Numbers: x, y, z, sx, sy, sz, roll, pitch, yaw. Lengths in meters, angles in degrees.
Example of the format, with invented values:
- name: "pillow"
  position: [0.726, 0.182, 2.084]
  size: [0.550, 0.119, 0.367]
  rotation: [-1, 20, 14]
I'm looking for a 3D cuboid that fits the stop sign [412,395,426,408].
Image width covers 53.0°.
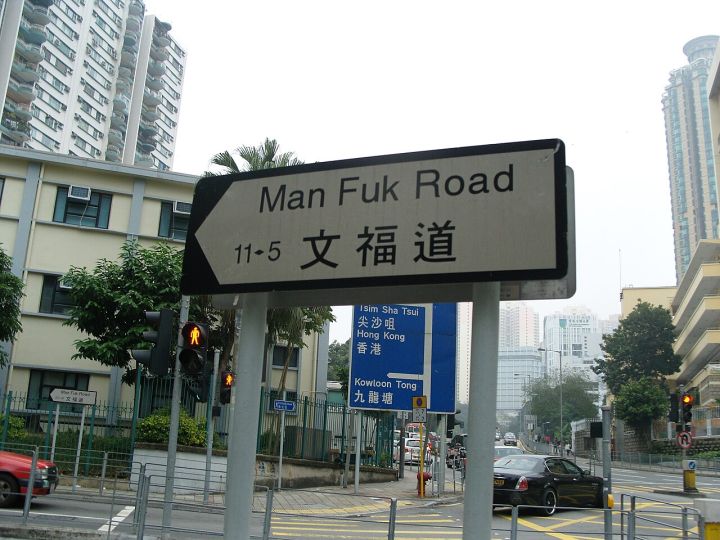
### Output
- name: "stop sign"
  position: [2.016, 4.533, 24.638]
  size: [0.432, 0.381, 0.228]
  rotation: [0, -13, 5]

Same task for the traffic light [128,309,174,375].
- name: "traffic light"
  position: [-4.464, 1.533, 15.636]
  size: [0.746, 1.441, 0.639]
  rotation: [4, -13, -13]

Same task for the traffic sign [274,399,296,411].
- name: "traffic sign"
  position: [-2.628, 4.667, 24.726]
  size: [0.578, 0.416, 1.048]
  rotation: [-9, -17, 36]

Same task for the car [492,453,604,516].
- name: "car"
  position: [5.568, 6.358, 21.628]
  size: [3.700, 1.525, 0.987]
  rotation: [9, -15, -30]

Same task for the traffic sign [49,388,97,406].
- name: "traffic sign"
  position: [-8.712, 3.867, 21.947]
  size: [1.281, 0.439, 0.701]
  rotation: [8, -15, -27]

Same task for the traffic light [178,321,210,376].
- name: "traffic light"
  position: [-3.617, 1.677, 15.724]
  size: [0.573, 1.129, 0.863]
  rotation: [4, -14, -14]

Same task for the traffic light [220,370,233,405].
- name: "traffic light"
  position: [-3.870, 3.389, 20.914]
  size: [0.337, 0.896, 0.769]
  rotation: [3, -13, -10]

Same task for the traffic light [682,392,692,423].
- name: "traffic light"
  position: [13.080, 5.549, 28.927]
  size: [0.302, 1.026, 0.923]
  rotation: [-3, -14, 16]

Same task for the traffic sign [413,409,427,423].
- name: "traffic sign"
  position: [2.042, 4.970, 24.595]
  size: [0.497, 0.500, 0.073]
  rotation: [3, -19, 14]
